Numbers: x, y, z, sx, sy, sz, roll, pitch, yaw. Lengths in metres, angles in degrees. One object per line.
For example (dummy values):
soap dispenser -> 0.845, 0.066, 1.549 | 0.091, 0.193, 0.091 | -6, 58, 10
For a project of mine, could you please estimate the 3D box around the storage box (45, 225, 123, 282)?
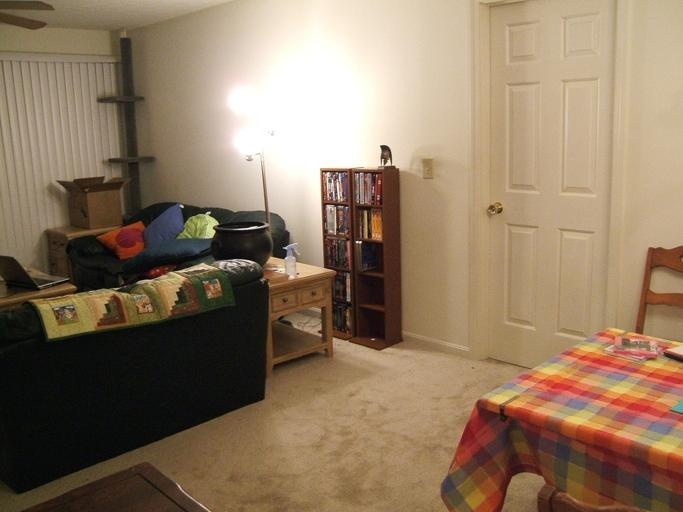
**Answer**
storage box -> -2.839, -0.120, 6.193 | 0.775, 0.885, 0.653 | 9, 12, 42

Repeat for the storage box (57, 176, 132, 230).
storage box -> -2.777, -0.619, 6.132 | 0.646, 0.401, 0.635 | -4, 9, 17

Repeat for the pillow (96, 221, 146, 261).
pillow -> -2.172, -0.153, 5.466 | 0.470, 0.139, 0.474 | -23, 38, -26

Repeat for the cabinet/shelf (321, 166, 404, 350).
cabinet/shelf -> 0.134, -0.010, 4.481 | 0.719, 1.417, 0.383 | 9, 18, 36
